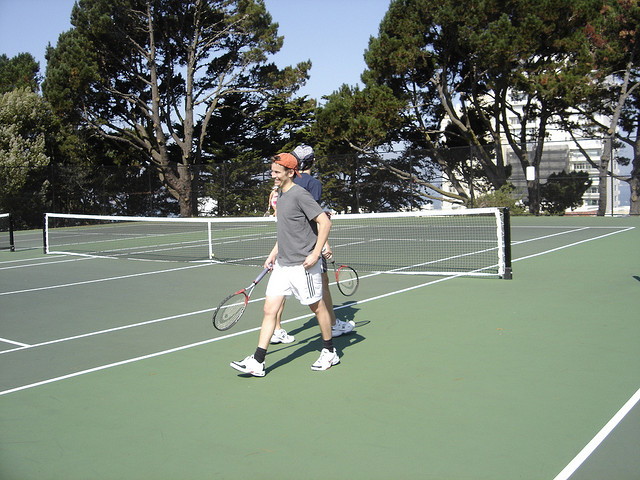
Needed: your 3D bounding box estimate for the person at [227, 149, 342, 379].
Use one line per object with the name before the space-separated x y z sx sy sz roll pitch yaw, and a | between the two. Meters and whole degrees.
person | -0.335 0.190 5.417 1.006 2.263 1.077 -3 4 -4
